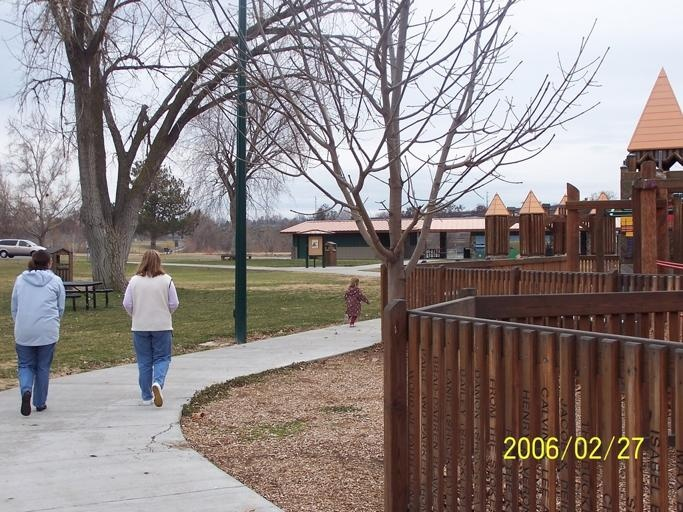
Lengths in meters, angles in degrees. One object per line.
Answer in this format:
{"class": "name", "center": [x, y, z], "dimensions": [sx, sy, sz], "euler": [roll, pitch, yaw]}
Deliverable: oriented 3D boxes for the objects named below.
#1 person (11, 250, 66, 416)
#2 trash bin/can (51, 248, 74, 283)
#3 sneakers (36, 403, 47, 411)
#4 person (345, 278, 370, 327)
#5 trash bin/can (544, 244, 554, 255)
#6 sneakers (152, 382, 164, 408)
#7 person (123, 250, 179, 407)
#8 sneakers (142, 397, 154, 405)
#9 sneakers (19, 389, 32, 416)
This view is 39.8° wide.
{"class": "person", "center": [-3.821, 0.934, 11.869], "dimensions": [0.623, 2.025, 0.835], "euler": [-1, 8, -18]}
{"class": "trash bin/can", "center": [-8.331, 0.322, 28.180], "dimensions": [0.761, 1.041, 0.798], "euler": [3, 8, 16]}
{"class": "sneakers", "center": [-3.769, 1.924, 11.841], "dimensions": [0.050, 0.065, 0.148], "euler": [0, 0, 3]}
{"class": "person", "center": [0.338, 1.099, 21.014], "dimensions": [0.675, 1.202, 0.445], "euler": [11, 21, 26]}
{"class": "trash bin/can", "center": [11.031, -0.253, 50.286], "dimensions": [0.383, 0.714, 0.718], "euler": [-5, 11, -10]}
{"class": "sneakers", "center": [-2.373, 1.759, 11.965], "dimensions": [0.123, 0.344, 0.145], "euler": [-11, -8, 4]}
{"class": "person", "center": [-2.468, 0.931, 12.146], "dimensions": [0.668, 1.945, 0.838], "euler": [0, 7, -11]}
{"class": "sneakers", "center": [-2.506, 1.902, 12.153], "dimensions": [0.059, 0.072, 0.165], "euler": [2, 1, 17]}
{"class": "sneakers", "center": [-3.906, 1.822, 11.605], "dimensions": [0.113, 0.317, 0.122], "euler": [1, 2, -17]}
